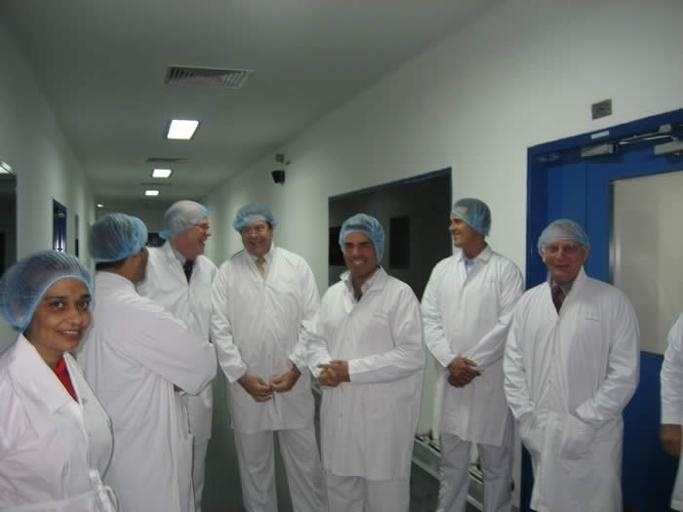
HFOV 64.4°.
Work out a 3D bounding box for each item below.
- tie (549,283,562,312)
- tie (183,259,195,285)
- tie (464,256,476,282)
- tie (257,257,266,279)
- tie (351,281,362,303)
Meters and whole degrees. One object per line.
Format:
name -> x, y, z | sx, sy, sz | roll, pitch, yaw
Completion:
tie -> 1.289, 0.262, 3.250 | 0.091, 0.137, 0.031 | -5, 1, -33
tie -> -1.061, 0.103, 3.740 | 0.056, 0.132, 0.091 | 3, -1, -18
tie -> 0.905, 0.086, 3.810 | 0.093, 0.148, 0.036 | -5, -20, 22
tie -> -0.559, 0.069, 3.797 | 0.043, 0.161, 0.055 | 8, -28, -21
tie -> 0.102, 0.213, 3.265 | 0.075, 0.109, 0.075 | 0, -21, 8
